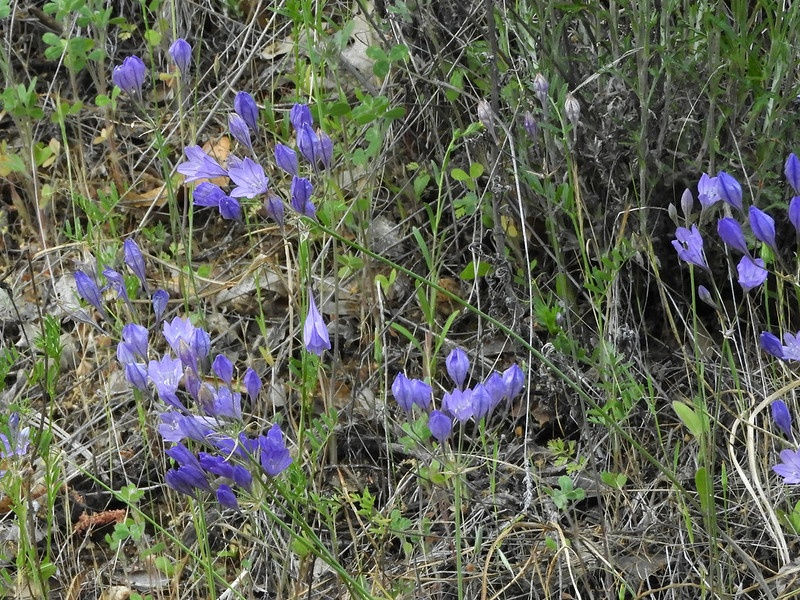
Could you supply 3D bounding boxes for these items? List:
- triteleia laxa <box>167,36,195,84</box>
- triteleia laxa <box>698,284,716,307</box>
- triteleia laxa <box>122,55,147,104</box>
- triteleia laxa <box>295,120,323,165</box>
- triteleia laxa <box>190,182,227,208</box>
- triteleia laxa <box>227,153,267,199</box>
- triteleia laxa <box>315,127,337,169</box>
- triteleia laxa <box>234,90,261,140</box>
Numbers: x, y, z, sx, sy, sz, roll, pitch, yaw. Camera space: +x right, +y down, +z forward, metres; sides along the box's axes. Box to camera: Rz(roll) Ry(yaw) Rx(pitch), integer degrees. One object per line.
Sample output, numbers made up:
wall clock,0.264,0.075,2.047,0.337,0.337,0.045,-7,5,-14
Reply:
triteleia laxa,-0.737,-0.809,2.703,0.055,0.151,0.069,4,33,4
triteleia laxa,1.015,-0.019,2.631,0.023,0.138,0.049,9,63,34
triteleia laxa,-0.926,-0.747,2.743,0.046,0.154,0.058,-6,30,-1
triteleia laxa,-0.264,-0.442,2.353,0.069,0.146,0.159,-3,38,-6
triteleia laxa,-0.576,-0.317,2.418,0.080,0.044,0.077,-23,63,-27
triteleia laxa,-0.438,-0.353,2.267,0.116,0.061,0.127,-38,3,-1
triteleia laxa,-0.224,-0.441,2.347,0.033,0.131,0.037,-13,44,-2
triteleia laxa,-0.474,-0.581,2.478,0.062,0.145,0.235,-5,40,-10
